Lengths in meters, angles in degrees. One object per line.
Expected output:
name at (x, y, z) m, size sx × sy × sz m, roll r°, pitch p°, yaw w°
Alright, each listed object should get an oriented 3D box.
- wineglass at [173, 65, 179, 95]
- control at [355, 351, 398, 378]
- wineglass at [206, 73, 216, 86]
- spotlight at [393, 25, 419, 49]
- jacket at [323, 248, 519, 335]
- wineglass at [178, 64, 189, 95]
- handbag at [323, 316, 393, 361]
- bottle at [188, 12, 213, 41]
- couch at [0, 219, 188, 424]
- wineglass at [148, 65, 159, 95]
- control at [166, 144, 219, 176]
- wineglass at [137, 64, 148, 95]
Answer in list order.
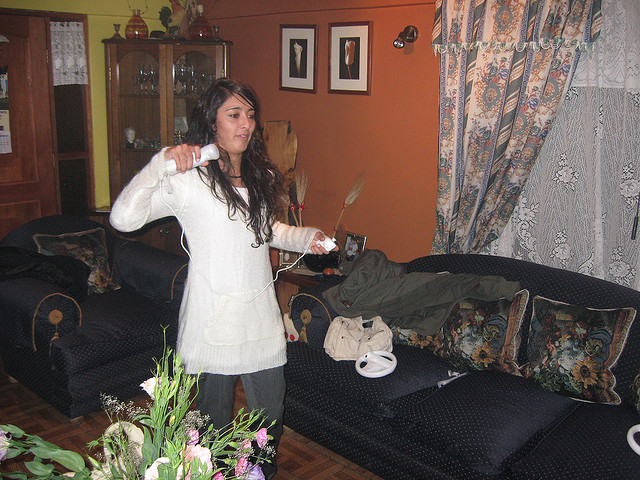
wineglass at (-1.321, -1.470, 4.492) m, size 0.053 × 0.259 × 0.026 m, roll 9°, pitch 16°, yaw 24°
control at (0.333, 0.722, 2.858) m, size 0.248 × 0.080 × 0.208 m, roll -3°, pitch 16°, yaw -19°
wineglass at (-0.982, -1.467, 4.427) m, size 0.070 × 0.083 × 0.163 m, roll -3°, pitch 16°, yaw -20°
spotlight at (0.613, -1.441, 3.466) m, size 0.097 × 0.151 × 0.182 m, roll 15°, pitch 20°, yaw 40°
jacket at (0.580, 0.321, 3.125) m, size 0.761 × 0.250 × 0.568 m, roll 9°, pitch 35°, yaw 16°
wineglass at (-1.253, -1.474, 4.499) m, size 0.094 × 0.265 × 0.038 m, roll -2°, pitch 15°, yaw -15°
handbag at (0.240, 0.598, 3.028) m, size 0.317 × 0.148 × 0.269 m, roll -1°, pitch 32°, yaw 5°
bottle at (-1.093, -1.912, 4.386) m, size 0.253 × 0.249 × 0.189 m, roll 4°, pitch 15°, yaw 5°
couch at (-1.478, 0.535, 3.094) m, size 0.857 × 0.979 × 0.928 m, roll 18°, pitch 22°, yaw 34°
wineglass at (-1.561, -1.493, 4.559) m, size 0.081 × 0.264 × 0.056 m, roll 1°, pitch 15°, yaw -6°
control at (-0.486, -0.312, 1.892) m, size 0.070 × 0.102 × 0.230 m, roll 12°, pitch 18°, yaw 32°
wineglass at (-1.675, -1.511, 4.606) m, size 0.166 × 0.275 × 0.082 m, roll 12°, pitch 18°, yaw 32°
